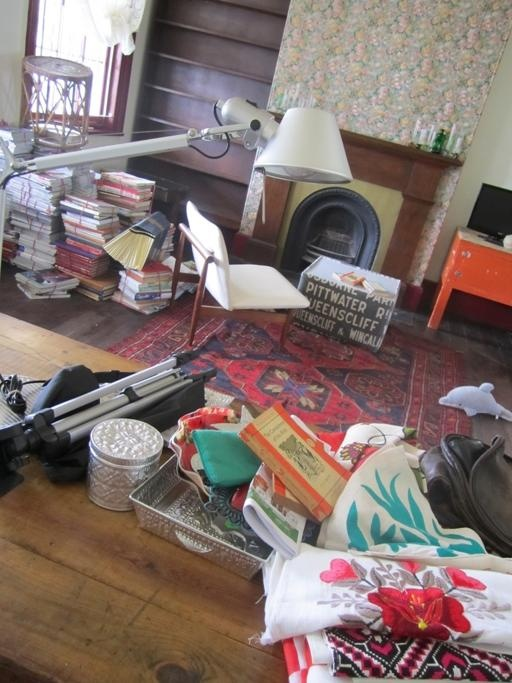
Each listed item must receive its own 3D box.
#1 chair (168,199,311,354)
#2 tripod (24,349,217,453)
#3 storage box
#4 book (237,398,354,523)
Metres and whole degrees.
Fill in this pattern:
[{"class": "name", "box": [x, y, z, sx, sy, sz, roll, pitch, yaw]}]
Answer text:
[{"class": "chair", "box": [-0.116, -0.414, 3.100, 0.923, 0.773, 0.734, -8, 43, -23]}, {"class": "tripod", "box": [-0.249, 0.103, 1.052, 0.397, 0.088, 0.100, -20, 34, -39]}, {"class": "storage box", "box": [0.615, -0.218, 3.747, 0.816, 0.459, 0.561, 20, 40, 10]}, {"class": "book", "box": [0.059, 0.205, 0.982, 0.198, 0.045, 0.203, 41, 17, 23]}]
